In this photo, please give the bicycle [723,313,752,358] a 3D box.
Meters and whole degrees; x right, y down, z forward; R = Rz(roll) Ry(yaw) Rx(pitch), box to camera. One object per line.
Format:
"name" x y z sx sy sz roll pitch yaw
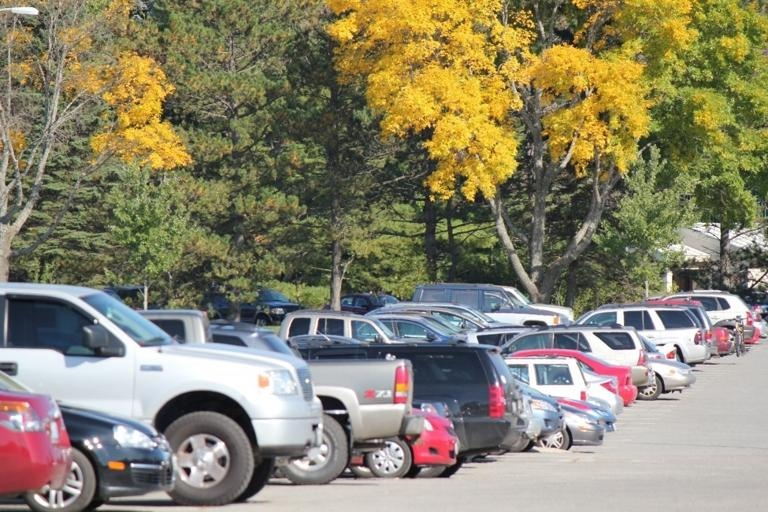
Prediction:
"bicycle" 16.224 3.634 83.445 1.229 1.422 2.491 1 21 11
